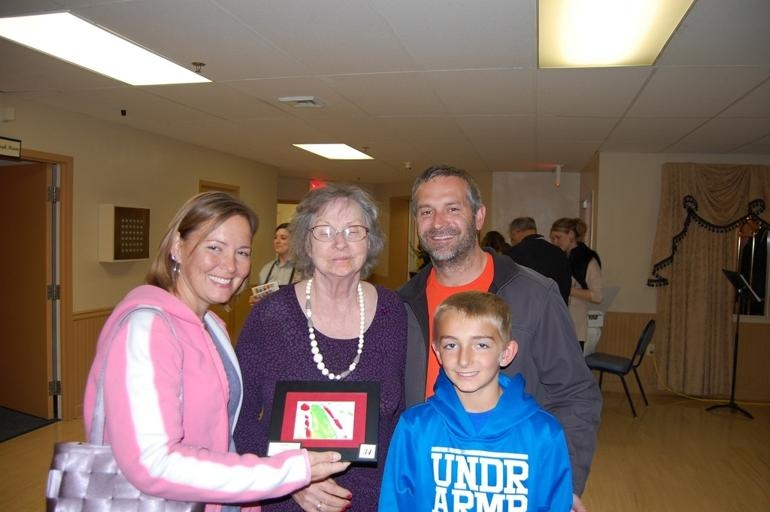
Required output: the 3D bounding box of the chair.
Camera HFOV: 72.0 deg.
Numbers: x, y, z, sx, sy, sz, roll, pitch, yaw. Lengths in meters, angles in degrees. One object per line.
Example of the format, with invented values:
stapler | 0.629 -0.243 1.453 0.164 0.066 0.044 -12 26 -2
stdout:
chair | 2.982 1.355 6.894 0.728 1.224 0.872 -2 6 -45
